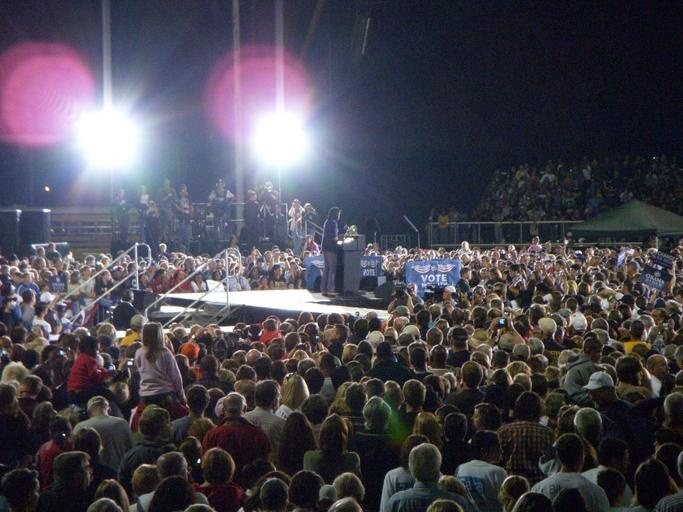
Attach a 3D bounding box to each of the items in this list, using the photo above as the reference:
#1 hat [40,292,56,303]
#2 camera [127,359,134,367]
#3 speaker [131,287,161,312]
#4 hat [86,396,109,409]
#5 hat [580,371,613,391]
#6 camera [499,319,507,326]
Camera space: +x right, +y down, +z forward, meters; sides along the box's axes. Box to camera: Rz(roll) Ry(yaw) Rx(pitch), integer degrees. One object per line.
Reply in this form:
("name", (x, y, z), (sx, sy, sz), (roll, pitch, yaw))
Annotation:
("hat", (-5.865, 0.826, 13.754), (0.156, 0.121, 0.229), (10, 10, 32))
("camera", (-2.681, 1.363, 8.796), (0.142, 0.100, 0.078), (1, -10, -15))
("speaker", (-4.243, 0.953, 14.922), (0.437, 0.408, 0.438), (-8, -13, 40))
("hat", (-2.532, 1.512, 7.171), (0.137, 0.172, 0.167), (0, 19, -7))
("hat", (2.672, 1.313, 7.189), (0.245, 0.143, 0.176), (1, -8, -1))
("camera", (2.230, 0.912, 9.577), (0.122, 0.123, 0.066), (4, 19, 18))
